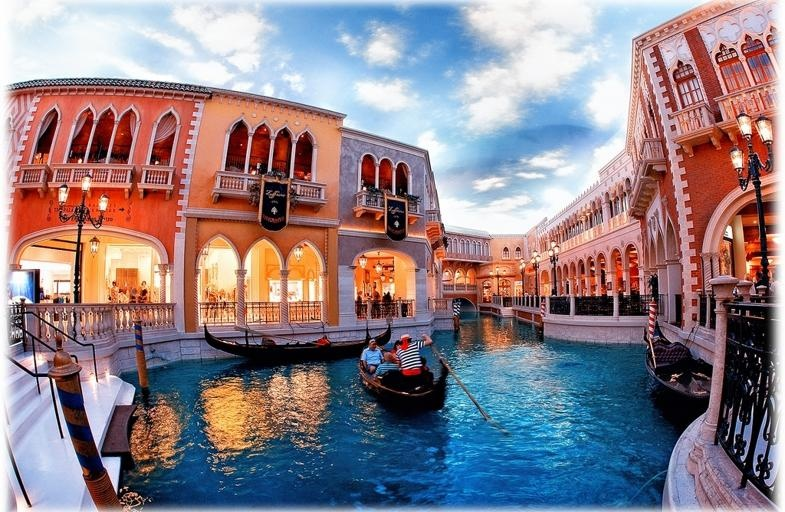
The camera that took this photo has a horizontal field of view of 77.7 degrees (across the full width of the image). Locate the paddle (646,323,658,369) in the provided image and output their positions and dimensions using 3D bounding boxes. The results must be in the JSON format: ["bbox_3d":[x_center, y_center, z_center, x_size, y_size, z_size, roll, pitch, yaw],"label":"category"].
[{"bbox_3d":[7.838,2.741,14.748,0.260,1.770,0.312,14,-31,5],"label":"paddle"}]

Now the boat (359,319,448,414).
[{"bbox_3d":[0.334,3.418,14.099,1.432,1.756,2.267,-10,16,-34],"label":"boat"}]

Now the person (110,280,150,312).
[{"bbox_3d":[-11.398,1.738,21.134,1.385,0.786,0.915,-4,-5,6],"label":"person"}]

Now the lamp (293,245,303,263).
[{"bbox_3d":[-4.244,-0.179,22.011,0.379,0.678,0.828,-4,13,-12],"label":"lamp"}]

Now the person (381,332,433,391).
[{"bbox_3d":[0.687,3.237,14.202,1.176,1.944,0.937,-13,2,-21],"label":"person"}]

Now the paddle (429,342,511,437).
[{"bbox_3d":[2.462,4.254,15.467,0.390,0.321,3.283,-19,42,-30],"label":"paddle"}]
